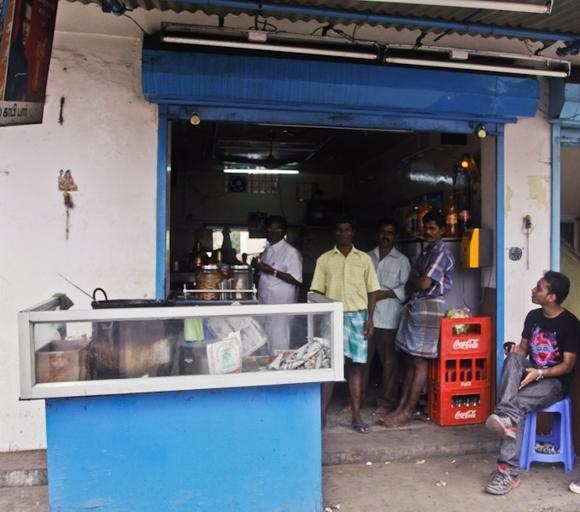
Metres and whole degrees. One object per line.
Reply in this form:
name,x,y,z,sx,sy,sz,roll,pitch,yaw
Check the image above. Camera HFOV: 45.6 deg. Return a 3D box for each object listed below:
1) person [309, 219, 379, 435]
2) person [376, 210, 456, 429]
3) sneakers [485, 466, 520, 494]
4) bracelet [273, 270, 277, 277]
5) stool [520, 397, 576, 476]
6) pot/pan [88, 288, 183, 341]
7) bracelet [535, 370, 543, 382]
person,0.445,0.558,5.868,0.589,1.724,0.321,6,6,15
person,1.121,0.538,5.996,0.472,1.848,0.583,6,7,21
sneakers,1.521,1.592,4.930,0.242,0.188,0.180,6,7,7
bracelet,-0.140,0.152,6.211,0.033,0.056,0.048,2,-19,-8
stool,1.925,1.379,5.288,0.462,0.615,0.503,0,-13,0
pot/pan,-1.007,0.336,4.435,0.538,0.265,0.329,-1,1,-12
bracelet,1.826,0.883,5.058,0.073,0.087,0.050,3,5,-33
